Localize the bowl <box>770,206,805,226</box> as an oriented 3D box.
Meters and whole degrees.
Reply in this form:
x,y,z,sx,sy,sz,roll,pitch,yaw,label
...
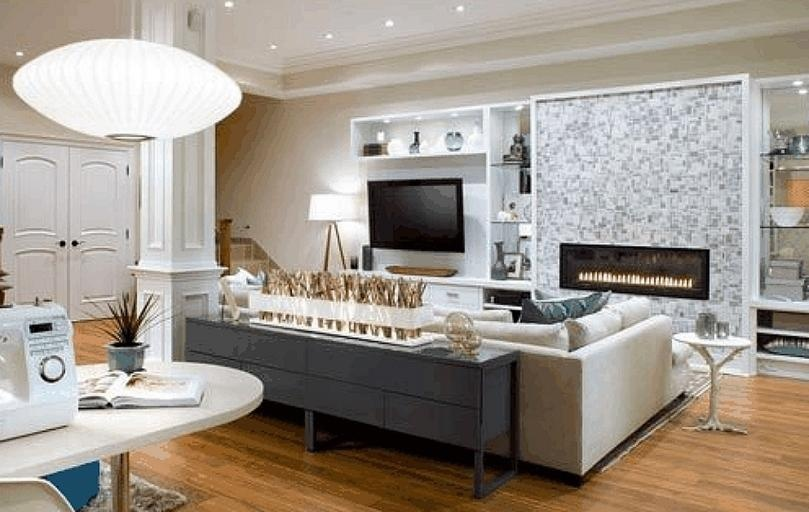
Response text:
x,y,z,sx,sy,sz,roll,pitch,yaw,label
4.124,-0.415,6.207,0.228,0.139,0.226,2,-1,0,bowl

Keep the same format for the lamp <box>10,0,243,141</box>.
x,y,z,sx,sy,sz,roll,pitch,yaw,label
-1.515,-0.946,3.313,0.851,0.453,0.889,-1,-1,40,lamp

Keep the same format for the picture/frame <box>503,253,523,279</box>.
x,y,z,sx,sy,sz,roll,pitch,yaw,label
1.427,0.145,7.569,0.325,0.313,0.035,9,-9,40,picture/frame

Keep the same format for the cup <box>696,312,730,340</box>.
x,y,z,sx,sy,sz,roll,pitch,yaw,label
2.585,0.594,4.898,0.313,0.218,0.185,1,2,30,cup

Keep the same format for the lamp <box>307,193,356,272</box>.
x,y,z,sx,sy,sz,roll,pitch,yaw,label
-1.138,-0.332,8.711,0.698,1.191,0.580,4,14,16,lamp

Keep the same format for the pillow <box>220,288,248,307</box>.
x,y,z,sx,sy,sz,roll,pitch,yaw,label
-1.502,0.376,5.249,0.261,0.160,0.138,1,2,12,pillow

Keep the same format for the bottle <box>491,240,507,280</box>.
x,y,z,sx,sy,sz,roll,pitch,yaw,label
1.242,0.054,7.591,0.170,0.474,0.305,2,14,8,bottle

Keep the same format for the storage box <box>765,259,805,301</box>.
x,y,z,sx,sy,sz,roll,pitch,yaw,label
4.127,0.249,6.227,0.448,0.411,0.261,2,2,44,storage box

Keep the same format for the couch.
x,y,z,sx,sy,sz,roll,pitch,yaw,label
1.479,0.892,4.754,2.301,0.810,1.924,2,7,36,couch

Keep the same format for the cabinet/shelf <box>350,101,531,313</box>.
x,y,z,sx,sy,sz,roll,pitch,yaw,label
0.562,-0.570,7.997,2.873,2.584,0.967,3,11,33,cabinet/shelf
